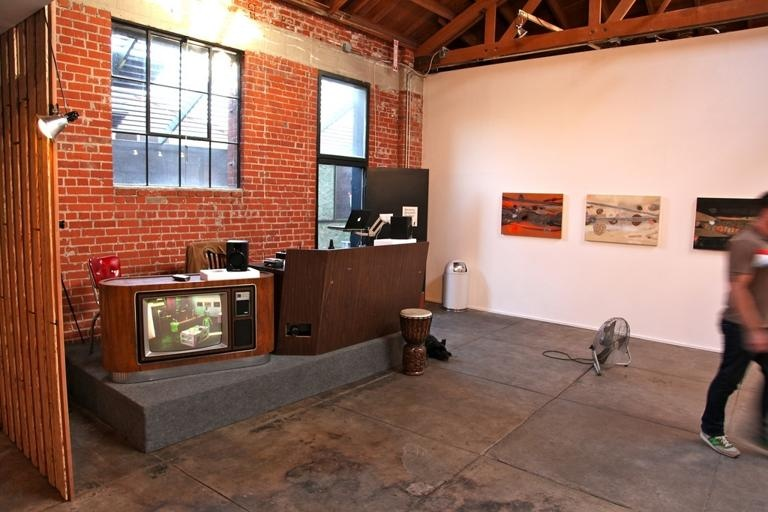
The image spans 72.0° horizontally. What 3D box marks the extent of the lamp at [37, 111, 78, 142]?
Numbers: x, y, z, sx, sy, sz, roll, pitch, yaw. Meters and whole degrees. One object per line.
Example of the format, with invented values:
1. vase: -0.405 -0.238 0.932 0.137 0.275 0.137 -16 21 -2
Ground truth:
1. lamp: -2.637 -1.057 4.282 0.277 0.235 0.510 -6 10 -32

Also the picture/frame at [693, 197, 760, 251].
1. picture/frame: 4.609 -0.458 7.086 0.851 0.770 0.080 4 4 17

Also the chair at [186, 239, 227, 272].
1. chair: -2.368 -0.039 7.050 0.463 0.514 0.440 8 8 34

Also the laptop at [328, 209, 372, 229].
1. laptop: -0.454 -0.467 6.913 0.417 0.235 0.422 5 6 43

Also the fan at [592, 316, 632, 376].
1. fan: 3.075 1.240 7.103 0.567 0.714 0.515 -9 20 -10

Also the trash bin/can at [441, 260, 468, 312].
1. trash bin/can: 1.323 0.545 9.734 0.472 0.884 0.271 0 9 6

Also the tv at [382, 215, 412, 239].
1. tv: 0.131 -0.415 7.446 0.480 0.421 0.460 2 5 15

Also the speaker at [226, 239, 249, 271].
1. speaker: -1.592 -0.013 5.763 0.271 0.324 0.317 0 -3 -8

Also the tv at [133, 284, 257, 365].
1. tv: -1.953 0.673 5.525 1.329 0.768 0.739 -3 2 -33

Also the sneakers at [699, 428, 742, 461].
1. sneakers: 3.320 1.874 5.204 0.352 0.139 0.132 7 15 44
